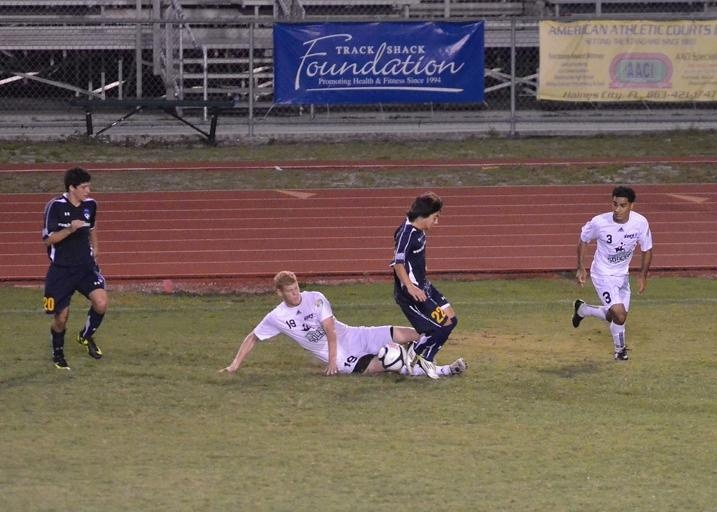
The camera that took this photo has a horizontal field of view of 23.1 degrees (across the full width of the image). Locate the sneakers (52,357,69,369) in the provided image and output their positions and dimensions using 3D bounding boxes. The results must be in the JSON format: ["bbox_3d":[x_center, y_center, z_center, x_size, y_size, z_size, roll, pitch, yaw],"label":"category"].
[{"bbox_3d":[-4.815,1.785,29.586,0.311,0.119,0.137,-3,-3,44],"label":"sneakers"}]

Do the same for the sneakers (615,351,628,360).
[{"bbox_3d":[4.439,1.643,30.019,0.244,0.180,0.265,1,7,6],"label":"sneakers"}]

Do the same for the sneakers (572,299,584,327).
[{"bbox_3d":[3.816,0.984,31.272,0.193,0.476,0.231,11,18,27],"label":"sneakers"}]

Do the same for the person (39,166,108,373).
[{"bbox_3d":[-4.641,0.146,29.803,1.011,3.343,1.058,-1,9,-8],"label":"person"}]
